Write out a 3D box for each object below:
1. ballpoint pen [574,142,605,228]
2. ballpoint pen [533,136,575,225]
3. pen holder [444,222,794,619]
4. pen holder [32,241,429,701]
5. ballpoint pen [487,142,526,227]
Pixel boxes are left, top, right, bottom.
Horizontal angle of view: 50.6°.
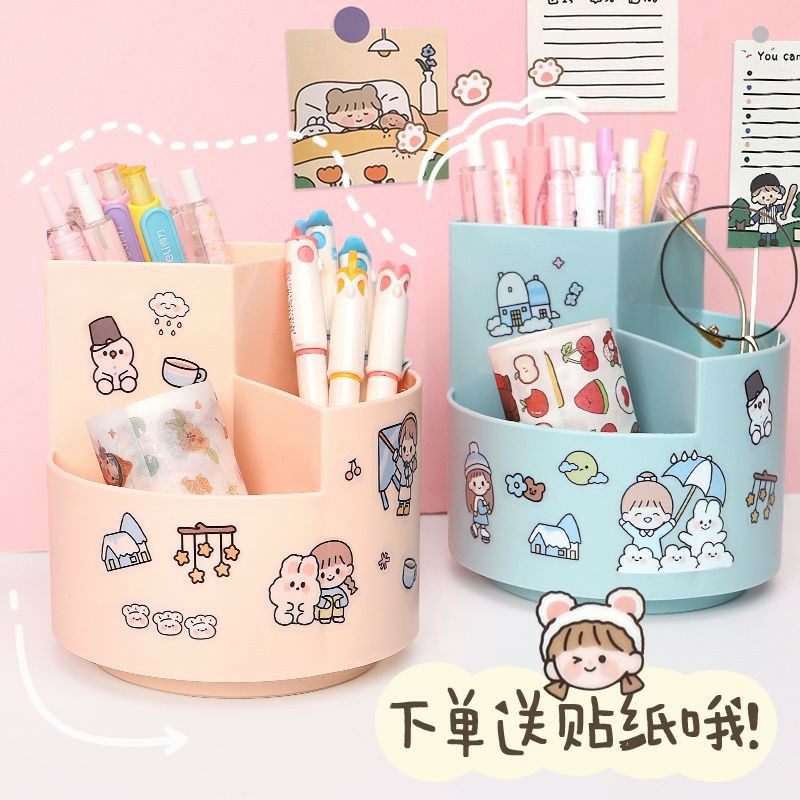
[{"bbox_3d":[0.170,-0.193,0.762,0.023,0.080,0.024,-1,-1,18],"label":"ballpoint pen"},{"bbox_3d":[0.140,-0.194,0.772,0.032,0.077,0.023,0,3,14],"label":"ballpoint pen"},{"bbox_3d":[0.200,-0.002,0.811,0.303,0.331,0.319,-3,7,0],"label":"pen holder"},{"bbox_3d":[-0.119,0.046,0.608,0.254,0.294,0.207,-5,10,-24],"label":"pen holder"},{"bbox_3d":[0.101,-0.196,0.788,0.020,0.078,0.020,-9,0,-1],"label":"ballpoint pen"}]
